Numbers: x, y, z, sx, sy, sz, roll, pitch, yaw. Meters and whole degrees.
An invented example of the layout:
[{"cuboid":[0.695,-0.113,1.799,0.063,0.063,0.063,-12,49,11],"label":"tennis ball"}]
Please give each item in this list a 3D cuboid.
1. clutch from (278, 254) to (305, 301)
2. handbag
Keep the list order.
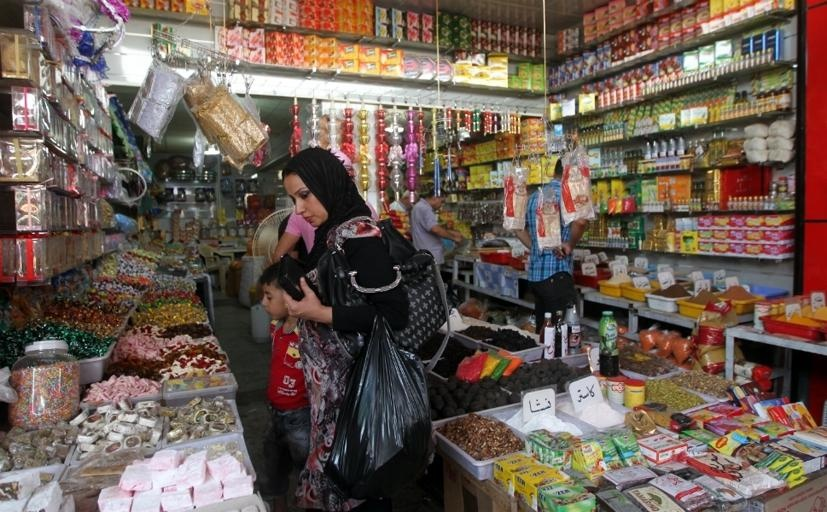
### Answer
[{"cuboid":[-0.580,0.099,2.547,0.048,0.193,0.189,-25,42,18],"label":"clutch"},{"cuboid":[0.027,0.213,2.589,0.295,0.473,0.112,-4,8,-38],"label":"handbag"}]
